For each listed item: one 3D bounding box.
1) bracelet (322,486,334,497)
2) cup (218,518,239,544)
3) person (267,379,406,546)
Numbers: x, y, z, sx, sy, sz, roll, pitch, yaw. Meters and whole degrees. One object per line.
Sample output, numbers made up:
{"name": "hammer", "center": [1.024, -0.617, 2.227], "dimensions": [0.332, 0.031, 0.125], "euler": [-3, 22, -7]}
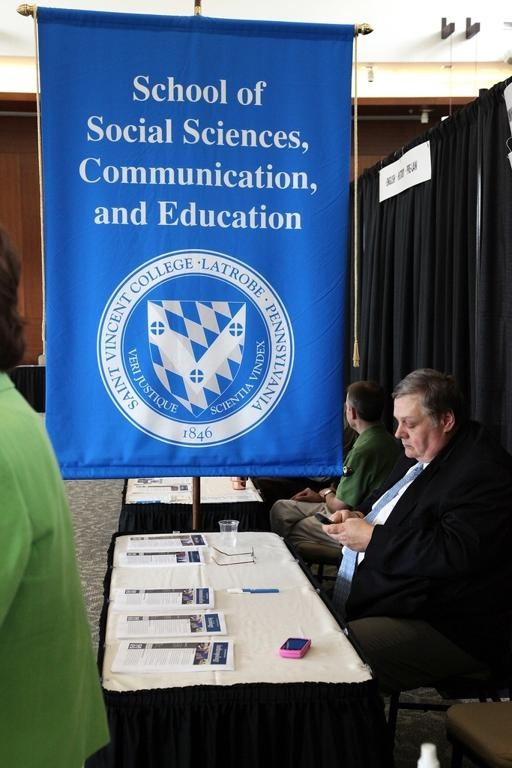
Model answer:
{"name": "bracelet", "center": [0.395, 0.592, 3.623], "dimensions": [0.050, 0.020, 0.043], "euler": [-15, -7, -46]}
{"name": "cup", "center": [-0.093, 0.531, 2.378], "dimensions": [0.080, 0.083, 0.081], "euler": [-1, -4, 0]}
{"name": "person", "center": [0.405, 0.505, 3.526], "dimensions": [0.708, 1.085, 0.477], "euler": [7, 9, 26]}
